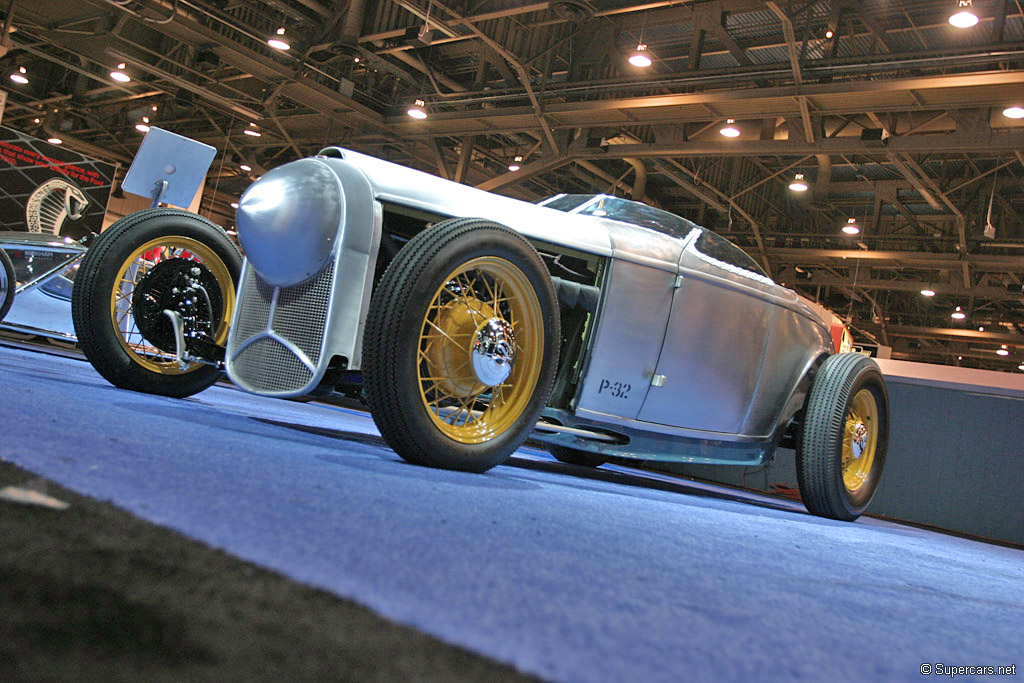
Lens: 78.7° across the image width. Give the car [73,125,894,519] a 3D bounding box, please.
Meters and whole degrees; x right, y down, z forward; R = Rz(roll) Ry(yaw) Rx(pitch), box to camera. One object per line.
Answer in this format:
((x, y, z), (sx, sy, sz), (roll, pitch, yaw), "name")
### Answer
((0.296, 0.286, 3.658), (4.435, 1.332, 2.148), (17, -5, -35), "car")
